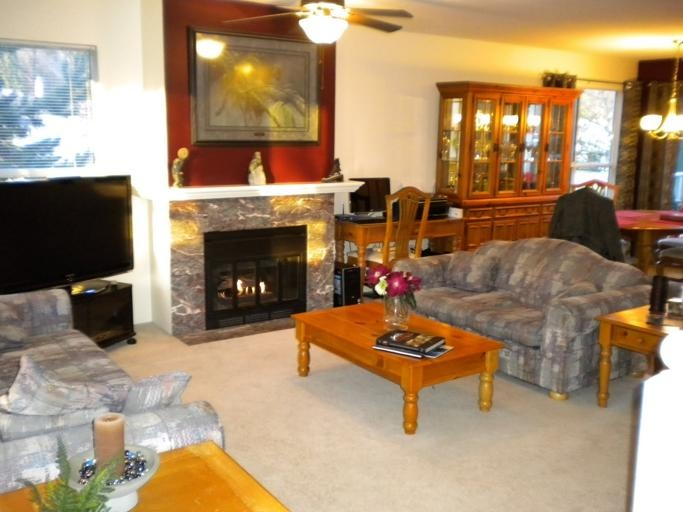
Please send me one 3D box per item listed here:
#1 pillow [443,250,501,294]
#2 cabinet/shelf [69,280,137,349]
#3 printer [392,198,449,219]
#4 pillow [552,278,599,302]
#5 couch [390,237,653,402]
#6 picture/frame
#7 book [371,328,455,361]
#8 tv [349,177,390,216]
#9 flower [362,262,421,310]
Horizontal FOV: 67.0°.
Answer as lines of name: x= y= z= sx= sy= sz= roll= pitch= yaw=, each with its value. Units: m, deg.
pillow: x=1.081 y=0.133 z=4.277 sx=0.408 sy=0.321 sz=0.124 roll=5 pitch=-13 yaw=34
cabinet/shelf: x=-1.847 y=0.448 z=3.974 sx=0.351 sy=0.417 sz=0.568 roll=20 pitch=23 yaw=40
printer: x=0.799 y=-0.493 z=5.347 sx=0.380 sy=0.135 sz=0.227 roll=-2 pitch=12 yaw=-13
pillow: x=1.669 y=0.244 z=3.658 sx=0.229 sy=0.058 sz=0.196 roll=-12 pitch=-20 yaw=17
couch: x=1.352 y=0.325 z=3.785 sx=1.326 sy=0.906 sz=2.073 roll=-6 pitch=10 yaw=-28
picture/frame: x=-0.819 y=-1.542 z=4.614 sx=1.569 sy=0.854 sz=0.055 roll=-4 pitch=10 yaw=-33
book: x=0.433 y=0.521 z=3.074 sx=0.393 sy=0.064 sz=0.309 roll=7 pitch=14 yaw=30
tv: x=0.294 y=-0.644 z=5.708 sx=0.685 sy=0.448 sz=0.196 roll=-3 pitch=11 yaw=-22
flower: x=0.394 y=0.193 z=3.537 sx=0.382 sy=0.300 sz=0.328 roll=-15 pitch=27 yaw=-27
